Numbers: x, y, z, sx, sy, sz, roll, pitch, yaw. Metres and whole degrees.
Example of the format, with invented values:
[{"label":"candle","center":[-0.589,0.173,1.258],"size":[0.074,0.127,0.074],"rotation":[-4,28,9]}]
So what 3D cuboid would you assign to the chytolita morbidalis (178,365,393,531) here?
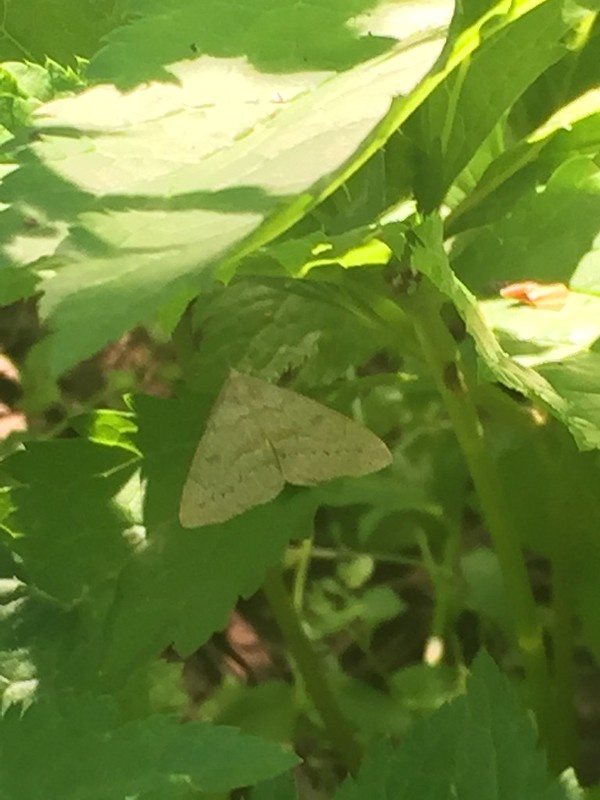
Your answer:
[{"label":"chytolita morbidalis","center":[-0.007,0.028,0.352],"size":[0.078,0.031,0.069],"rotation":[14,54,16]}]
